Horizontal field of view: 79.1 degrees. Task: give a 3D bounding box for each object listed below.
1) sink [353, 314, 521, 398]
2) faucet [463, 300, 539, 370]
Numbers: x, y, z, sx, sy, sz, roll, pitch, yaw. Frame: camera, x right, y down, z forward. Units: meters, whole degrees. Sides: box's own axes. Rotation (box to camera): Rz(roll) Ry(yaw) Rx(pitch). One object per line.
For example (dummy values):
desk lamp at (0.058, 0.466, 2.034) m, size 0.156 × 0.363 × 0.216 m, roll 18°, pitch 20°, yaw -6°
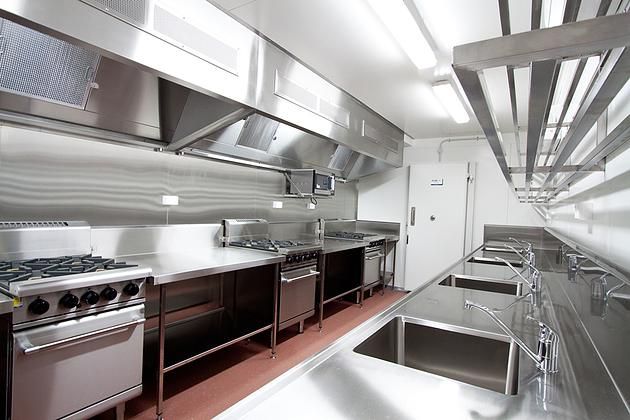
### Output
sink at (0.728, 0.760, 2.014) m, size 0.475 × 0.289 × 0.481 m, roll -1°, pitch -8°, yaw 33°
faucet at (0.897, 0.566, 1.925) m, size 0.289 × 0.234 × 0.433 m, roll 3°, pitch 10°, yaw 4°
